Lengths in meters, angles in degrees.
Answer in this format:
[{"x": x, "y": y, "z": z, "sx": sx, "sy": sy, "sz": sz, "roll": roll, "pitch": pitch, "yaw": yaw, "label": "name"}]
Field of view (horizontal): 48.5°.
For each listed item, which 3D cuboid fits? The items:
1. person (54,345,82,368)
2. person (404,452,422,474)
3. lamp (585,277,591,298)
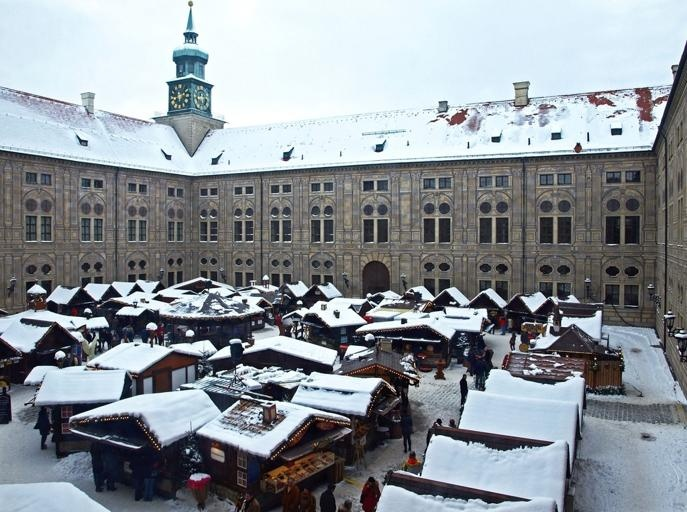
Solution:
[{"x": -16.982, "y": 6.121, "z": 46.947, "sx": 1.123, "sy": 1.119, "sz": 0.624, "roll": 12, "pitch": -39, "yaw": -31, "label": "person"}, {"x": 3.307, "y": 9.641, "z": 35.796, "sx": 0.741, "sy": 0.918, "sz": 0.887, "roll": -1, "pitch": 0, "yaw": -12, "label": "person"}, {"x": 20.489, "y": 2.645, "z": 63.846, "sx": 0.602, "sy": 1.534, "sz": 2.577, "roll": -1, "pitch": 0, "yaw": 18, "label": "lamp"}]
